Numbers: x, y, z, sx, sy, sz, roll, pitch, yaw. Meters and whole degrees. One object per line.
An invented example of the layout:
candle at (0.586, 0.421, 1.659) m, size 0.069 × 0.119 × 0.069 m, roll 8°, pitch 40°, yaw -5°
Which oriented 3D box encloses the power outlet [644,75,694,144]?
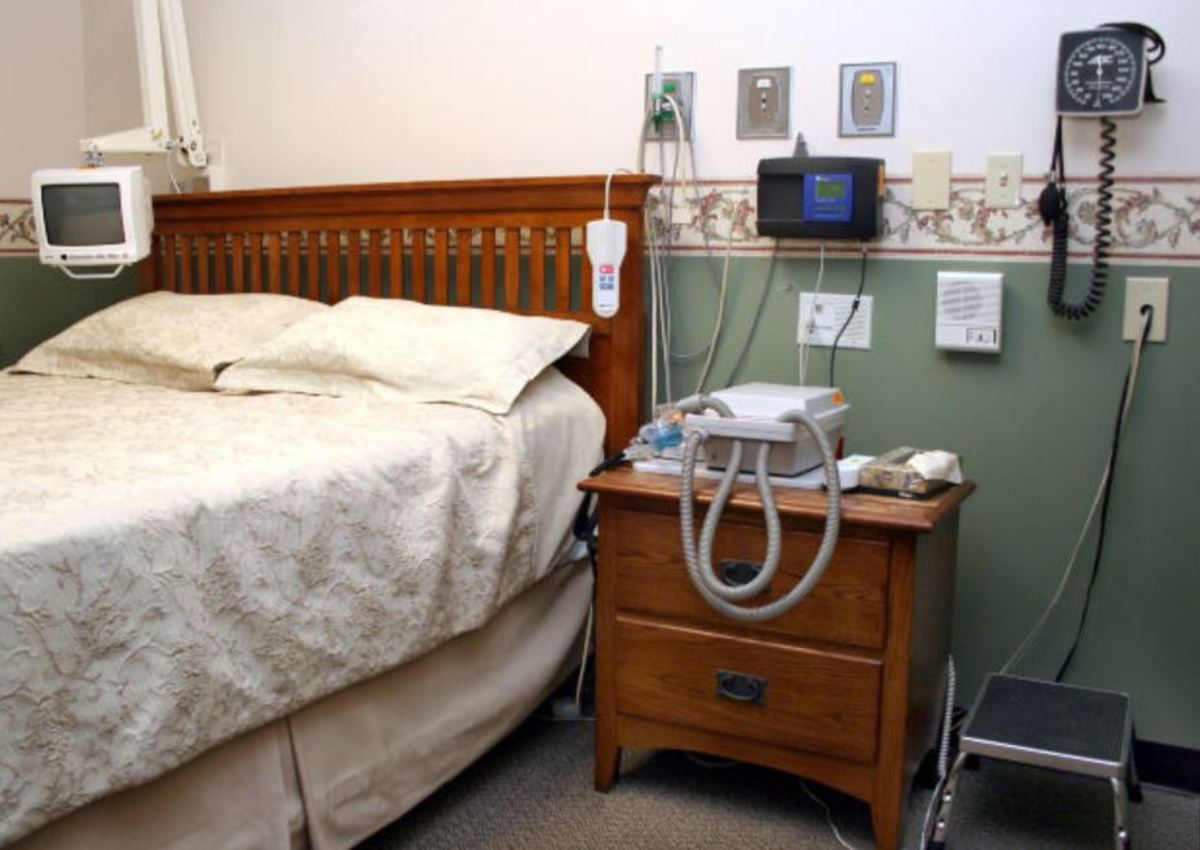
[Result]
power outlet at (0.177, -0.813, 2.198) m, size 0.172 × 0.221 × 0.022 m, roll 0°, pitch 1°, yaw 4°

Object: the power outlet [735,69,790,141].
power outlet at (0.403, -0.797, 2.133) m, size 0.165 × 0.212 × 0.025 m, roll 1°, pitch 3°, yaw 20°

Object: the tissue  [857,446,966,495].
tissue  at (0.627, 0.093, 1.753) m, size 0.137 × 0.075 × 0.222 m, roll 15°, pitch 22°, yaw 40°

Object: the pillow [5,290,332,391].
pillow at (-1.083, -0.247, 2.493) m, size 0.832 × 0.273 × 0.536 m, roll 3°, pitch 10°, yaw 20°

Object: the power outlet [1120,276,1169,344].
power outlet at (1.203, -0.254, 1.930) m, size 0.084 × 0.145 × 0.014 m, roll 5°, pitch -7°, yaw 21°

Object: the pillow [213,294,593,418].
pillow at (-0.480, -0.181, 2.112) m, size 0.847 × 0.194 × 0.354 m, roll 4°, pitch 17°, yaw 11°

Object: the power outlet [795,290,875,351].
power outlet at (0.585, -0.263, 2.144) m, size 0.136 × 0.108 × 0.014 m, roll 5°, pitch 11°, yaw 23°
